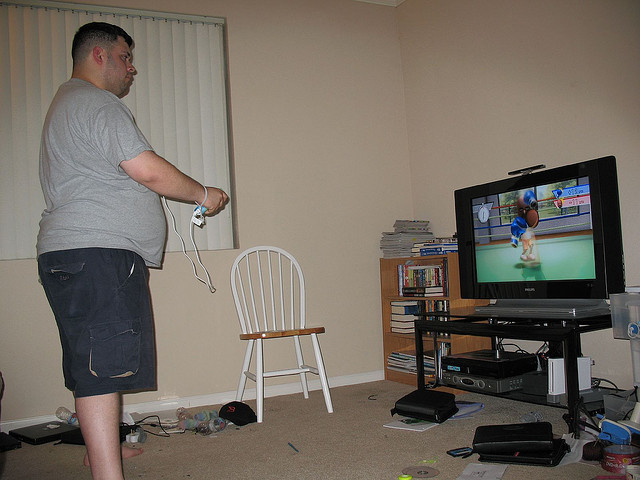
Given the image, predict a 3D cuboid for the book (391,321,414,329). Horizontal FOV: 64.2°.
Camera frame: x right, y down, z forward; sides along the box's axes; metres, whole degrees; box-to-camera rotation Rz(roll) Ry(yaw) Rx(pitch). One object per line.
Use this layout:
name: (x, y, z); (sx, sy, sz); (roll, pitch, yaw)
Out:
book: (0.623, 0.639, 3.812); (0.112, 0.027, 0.115); (-3, -3, 44)

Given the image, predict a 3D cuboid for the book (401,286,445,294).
book: (0.731, 0.364, 3.653); (0.037, 0.050, 0.356); (-2, -2, -44)

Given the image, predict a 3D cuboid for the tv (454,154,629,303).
tv: (1.254, -0.002, 2.979); (0.852, 0.711, 0.309); (-8, -10, 42)

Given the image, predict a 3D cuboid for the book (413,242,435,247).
book: (0.749, 0.039, 3.722); (0.094, 0.033, 0.250); (-3, -1, -5)

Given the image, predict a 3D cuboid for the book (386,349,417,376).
book: (0.623, 0.901, 3.771); (0.141, 0.159, 0.415); (-3, -1, -17)

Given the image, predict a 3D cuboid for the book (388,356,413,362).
book: (0.596, 0.877, 3.744); (0.085, 0.019, 0.081); (1, -1, 26)

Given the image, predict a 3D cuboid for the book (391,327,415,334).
book: (0.616, 0.682, 3.816); (0.110, 0.025, 0.107); (2, -4, -40)

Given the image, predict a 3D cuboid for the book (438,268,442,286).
book: (0.833, 0.270, 3.578); (0.020, 0.082, 0.084); (-3, -1, 8)

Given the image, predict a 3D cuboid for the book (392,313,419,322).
book: (0.621, 0.585, 3.849); (0.116, 0.028, 0.114); (1, -1, -42)

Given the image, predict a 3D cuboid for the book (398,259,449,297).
book: (0.764, 0.247, 3.762); (0.376, 0.328, 0.225); (-3, 17, 5)

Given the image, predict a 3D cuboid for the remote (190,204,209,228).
remote: (-0.683, -0.136, 2.872); (0.118, 0.166, 0.057); (-4, -17, 38)

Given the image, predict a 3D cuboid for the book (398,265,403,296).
book: (0.612, 0.310, 3.868); (0.033, 0.209, 0.098); (-3, -1, -5)

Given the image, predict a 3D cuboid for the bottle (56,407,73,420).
bottle: (-1.563, 1.061, 3.121); (0.104, 0.101, 0.060); (17, -26, -36)

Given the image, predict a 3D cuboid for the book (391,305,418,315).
book: (0.635, 0.524, 3.803); (0.104, 0.033, 0.101); (1, -1, -29)

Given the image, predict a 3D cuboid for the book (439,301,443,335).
book: (0.812, 0.540, 3.429); (0.027, 0.213, 0.254); (-4, -1, 13)
